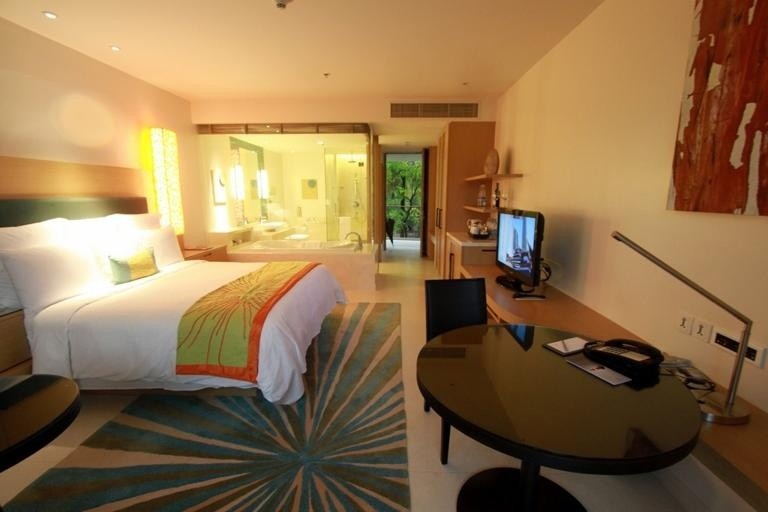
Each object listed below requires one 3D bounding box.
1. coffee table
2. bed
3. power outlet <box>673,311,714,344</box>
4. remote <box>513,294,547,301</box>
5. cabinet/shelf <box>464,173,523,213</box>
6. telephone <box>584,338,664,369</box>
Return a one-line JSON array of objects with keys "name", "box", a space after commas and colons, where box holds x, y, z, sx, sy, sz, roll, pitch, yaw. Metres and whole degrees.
[{"name": "coffee table", "box": [0.994, 0.947, 2.992, 1.587, 0.700, 0.914, 5, 13, 30]}, {"name": "bed", "box": [-1.852, 0.465, 4.263, 1.958, 0.875, 1.940, 1, 9, -1]}, {"name": "power outlet", "box": [2.105, 0.478, 3.299, 0.071, 0.160, 0.209, -6, 17, -24]}, {"name": "remote", "box": [1.243, 0.349, 4.194, 0.191, 0.025, 0.101, 1, 8, 3]}, {"name": "cabinet/shelf", "box": [1.308, -0.786, 5.964, 0.425, 0.450, 1.301, -2, 11, -1]}, {"name": "telephone", "box": [1.524, 0.610, 3.085, 0.238, 0.101, 0.314, -6, 10, -35]}]
